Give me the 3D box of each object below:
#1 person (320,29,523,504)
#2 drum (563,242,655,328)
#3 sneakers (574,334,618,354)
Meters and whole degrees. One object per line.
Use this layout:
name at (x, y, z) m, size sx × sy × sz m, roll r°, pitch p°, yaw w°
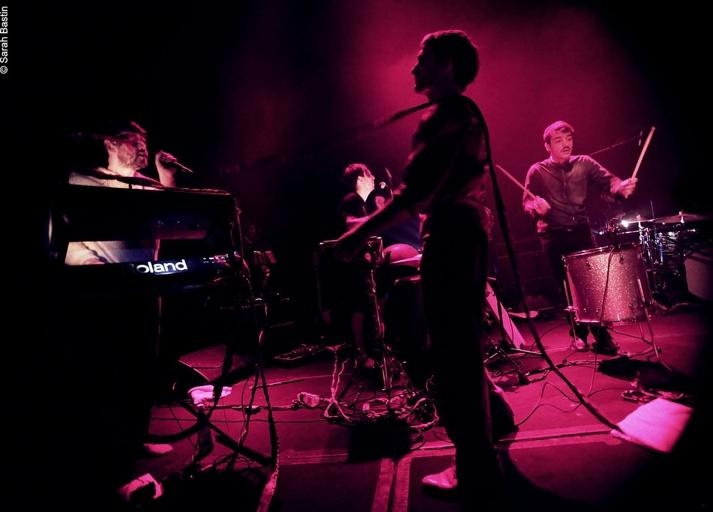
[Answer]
person at (0.593, 0.041, 3.787) m, size 1.282 × 2.546 × 0.605 m, roll -3°, pitch 1°, yaw -39°
drum at (2.540, 0.255, 5.642) m, size 0.727 × 0.748 × 0.747 m, roll -7°, pitch 2°, yaw 44°
sneakers at (2.476, 0.925, 5.801) m, size 0.474 × 0.180 × 0.192 m, roll -7°, pitch -3°, yaw 30°
